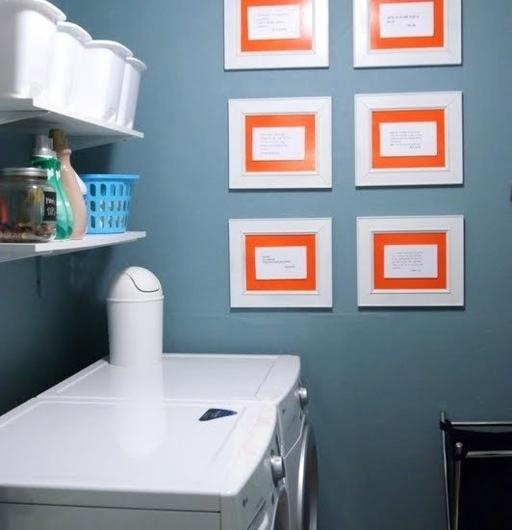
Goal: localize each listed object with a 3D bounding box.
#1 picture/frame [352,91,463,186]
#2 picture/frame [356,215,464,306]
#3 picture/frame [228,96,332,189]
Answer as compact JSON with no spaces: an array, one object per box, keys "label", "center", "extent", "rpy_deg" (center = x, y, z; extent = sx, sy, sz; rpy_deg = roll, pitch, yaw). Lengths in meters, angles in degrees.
[{"label":"picture/frame","center":[0.541,-0.450,1.968],"extent":[0.249,0.286,0.022],"rpy_deg":[0,3,5]},{"label":"picture/frame","center":[0.555,-0.026,1.989],"extent":[0.239,0.276,0.020],"rpy_deg":[0,1,4]},{"label":"picture/frame","center":[0.098,-0.445,2.004],"extent":[0.248,0.285,0.021],"rpy_deg":[-1,0,3]}]
